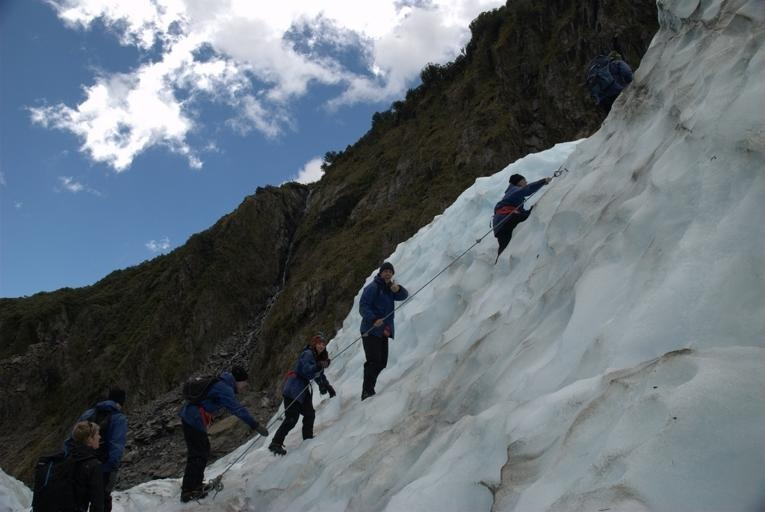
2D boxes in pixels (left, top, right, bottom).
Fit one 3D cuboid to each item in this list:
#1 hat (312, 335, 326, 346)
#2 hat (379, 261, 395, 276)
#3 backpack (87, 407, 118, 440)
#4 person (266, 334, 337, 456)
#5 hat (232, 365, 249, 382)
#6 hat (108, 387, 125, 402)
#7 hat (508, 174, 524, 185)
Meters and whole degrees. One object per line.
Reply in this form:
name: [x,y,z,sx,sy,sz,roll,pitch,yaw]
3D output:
hat: [-1.230,1.600,13.998,0.209,0.223,0.187,-10,-18,35]
hat: [0.086,0.244,14.845,0.200,0.237,0.285,10,-30,-8]
backpack: [-4.904,2.892,12.781,0.389,0.597,0.571,-3,-46,-17]
person: [-1.563,2.644,14.003,1.869,1.573,0.930,-44,-25,28]
hat: [-2.615,2.140,13.390,0.332,0.287,0.263,27,-24,-36]
hat: [-4.920,2.558,13.534,0.260,0.343,0.343,11,-18,-12]
hat: [2.846,-1.701,15.516,0.238,0.215,0.248,-4,-60,17]
